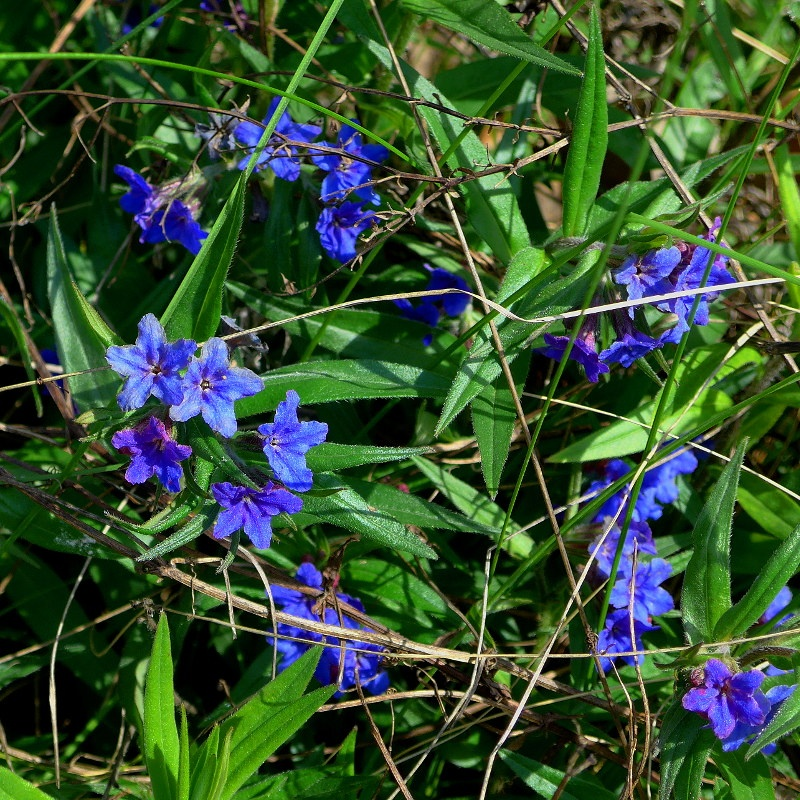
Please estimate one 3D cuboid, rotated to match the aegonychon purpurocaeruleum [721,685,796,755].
[{"bbox_3d":[0.655,0.579,1.709,0.057,0.142,0.139,41,17,-1],"label":"aegonychon purpurocaeruleum"}]
